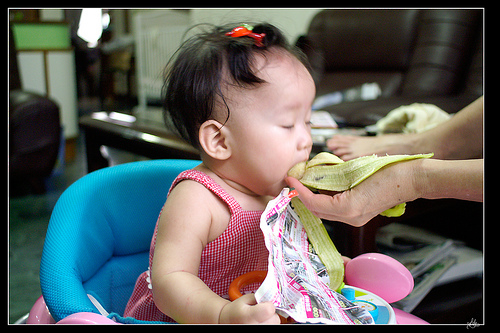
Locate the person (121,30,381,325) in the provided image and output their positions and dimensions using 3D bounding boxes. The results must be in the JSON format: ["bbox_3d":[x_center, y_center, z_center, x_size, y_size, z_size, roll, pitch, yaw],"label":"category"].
[{"bbox_3d":[-0.012,0.002,1.132,0.678,0.693,0.681,1,4,23],"label":"person"}]
